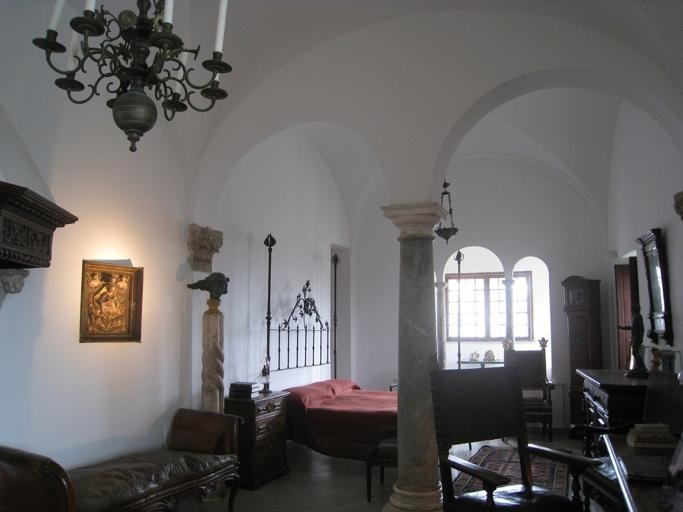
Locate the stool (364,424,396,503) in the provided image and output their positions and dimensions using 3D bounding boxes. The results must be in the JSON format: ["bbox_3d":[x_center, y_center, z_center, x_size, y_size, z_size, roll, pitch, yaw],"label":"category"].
[{"bbox_3d":[0.454,2.274,5.689,0.524,0.920,0.518,-1,-19,2],"label":"stool"}]

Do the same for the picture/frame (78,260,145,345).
[{"bbox_3d":[-2.277,0.463,4.906,0.150,0.891,0.721,-4,-7,27],"label":"picture/frame"}]

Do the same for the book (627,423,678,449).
[{"bbox_3d":[1.925,1.126,3.139,0.183,0.106,0.202,-4,-2,-3],"label":"book"}]

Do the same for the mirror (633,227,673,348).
[{"bbox_3d":[3.698,0.391,5.948,0.157,1.407,1.305,-3,-6,24],"label":"mirror"}]

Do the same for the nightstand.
[{"bbox_3d":[-1.022,2.159,5.968,0.473,0.961,0.705,-4,-7,27],"label":"nightstand"}]

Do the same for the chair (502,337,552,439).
[{"bbox_3d":[3.147,2.208,8.569,1.013,1.437,0.960,13,-17,-38],"label":"chair"}]

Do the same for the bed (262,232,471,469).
[{"bbox_3d":[0.169,1.249,6.807,2.543,1.763,2.744,-4,-8,27],"label":"bed"}]
